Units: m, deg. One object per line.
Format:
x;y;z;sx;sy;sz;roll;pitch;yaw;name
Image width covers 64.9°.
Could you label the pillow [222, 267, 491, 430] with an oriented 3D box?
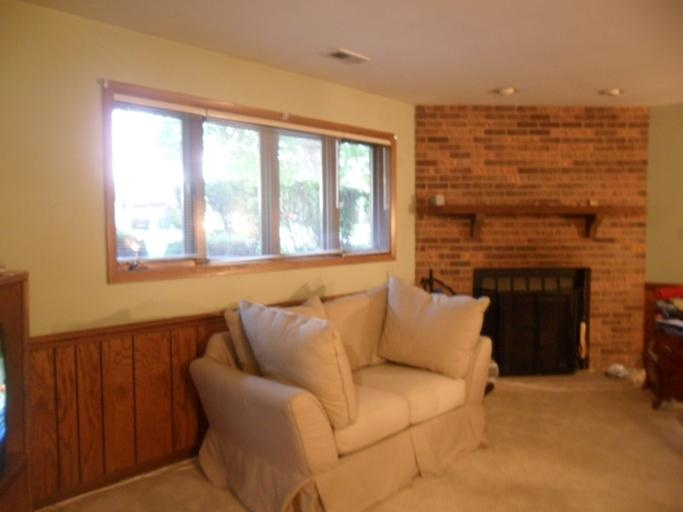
0.169;0.537;3.384;1.011;0.395;0.988;-9;7;-42;pillow
